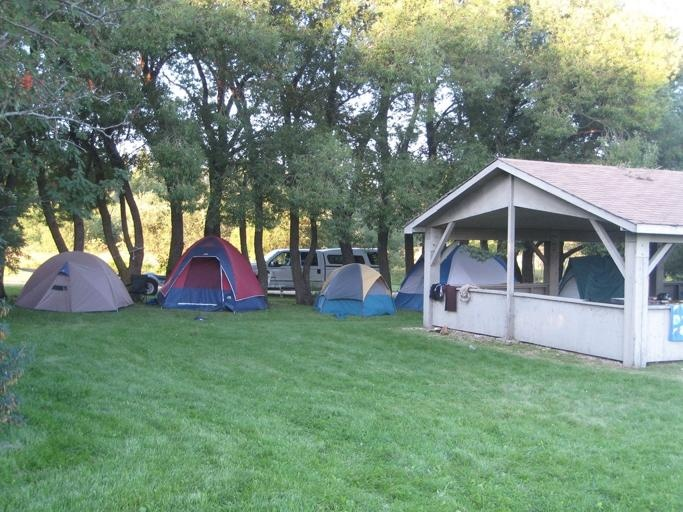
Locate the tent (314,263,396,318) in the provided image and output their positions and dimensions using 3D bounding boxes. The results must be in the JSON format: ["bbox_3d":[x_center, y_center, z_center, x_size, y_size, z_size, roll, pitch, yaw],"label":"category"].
[{"bbox_3d":[0.436,1.140,20.032,1.505,1.083,1.901,1,-3,-38],"label":"tent"}]

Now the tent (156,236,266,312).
[{"bbox_3d":[-4.044,0.735,20.442,2.651,2.041,2.230,1,1,2],"label":"tent"}]

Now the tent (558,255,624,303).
[{"bbox_3d":[7.480,0.723,19.179,1.282,0.896,1.983,0,4,-14],"label":"tent"}]

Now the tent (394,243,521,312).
[{"bbox_3d":[3.250,0.512,20.111,2.475,1.384,2.404,-1,1,-31],"label":"tent"}]
